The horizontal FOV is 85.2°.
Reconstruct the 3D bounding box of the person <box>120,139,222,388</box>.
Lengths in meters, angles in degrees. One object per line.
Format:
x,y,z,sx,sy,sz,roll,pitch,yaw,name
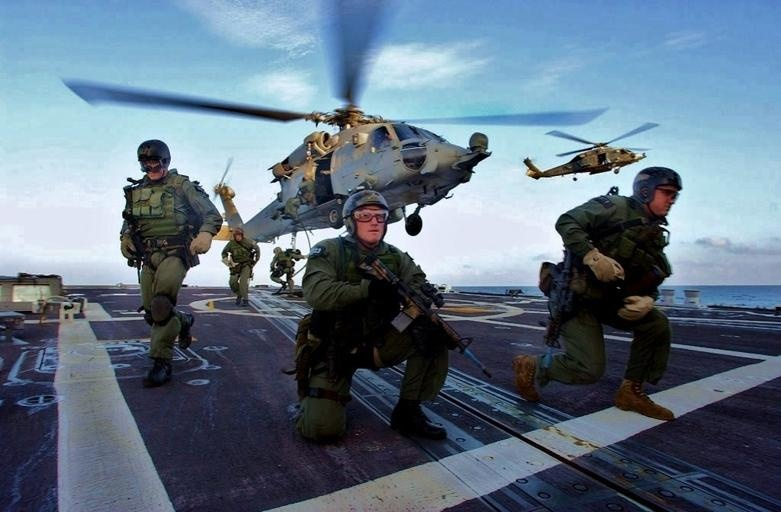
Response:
-2.625,0.010,5.064,1.002,2.730,1.568,-2,8,-29,person

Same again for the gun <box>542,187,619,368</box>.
1.842,0.273,4.078,0.470,1.839,0.839,19,3,16,gun

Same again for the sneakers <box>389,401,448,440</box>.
0.247,1.350,3.570,0.535,0.224,0.190,-2,-9,42,sneakers

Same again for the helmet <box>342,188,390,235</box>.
-0.145,-0.421,4.033,0.550,0.346,0.546,-2,5,5,helmet
